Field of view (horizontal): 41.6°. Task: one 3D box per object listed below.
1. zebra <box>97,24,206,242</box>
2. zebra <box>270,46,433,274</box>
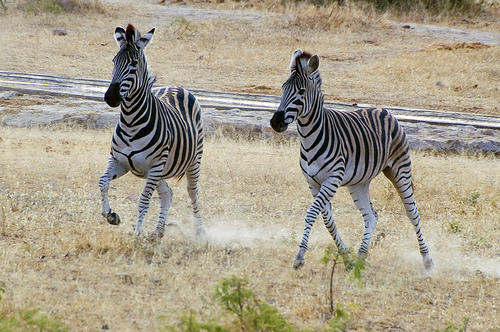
[{"bbox_3d":[-1.806,-0.604,12.256,2.169,3.702,1.812,-6,28,-27],"label":"zebra"},{"bbox_3d":[1.720,-0.069,12.009,2.684,3.612,2.008,-7,29,-28],"label":"zebra"}]
